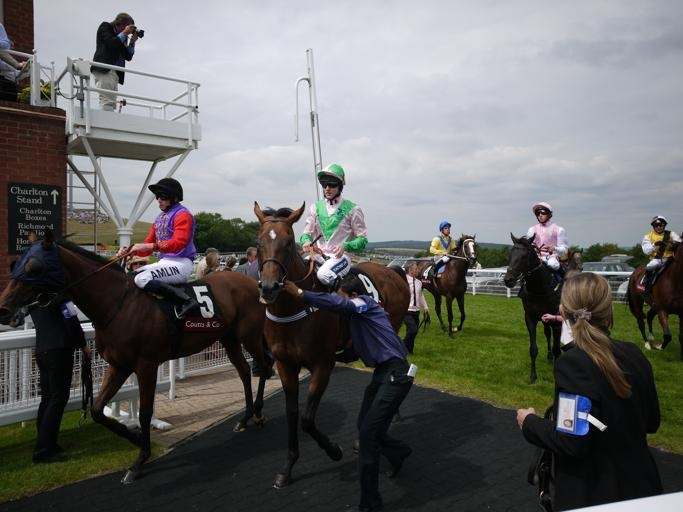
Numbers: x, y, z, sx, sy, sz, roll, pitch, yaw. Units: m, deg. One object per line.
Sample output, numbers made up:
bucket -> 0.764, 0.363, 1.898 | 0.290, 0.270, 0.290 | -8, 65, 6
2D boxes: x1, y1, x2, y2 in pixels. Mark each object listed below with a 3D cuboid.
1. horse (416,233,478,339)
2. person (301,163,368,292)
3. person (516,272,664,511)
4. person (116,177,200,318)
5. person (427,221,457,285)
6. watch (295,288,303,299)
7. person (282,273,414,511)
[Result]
horse -> 2.511, 0.784, 12.351 | 0.870, 2.385, 3.568 | -1, -5, -13
person -> -0.144, -0.059, 5.935 | 0.841, 2.040, 0.790 | 0, -2, 16
person -> 1.660, 0.891, 3.327 | 0.880, 1.530, 0.388 | -1, 4, 3
person -> -2.121, -0.062, 5.791 | 0.809, 1.651, 0.856 | 2, -2, 11
person -> 2.588, -0.059, 12.283 | 0.718, 1.528, 0.895 | 2, 3, -33
watch -> -0.377, 0.335, 4.532 | 0.057, 0.087, 0.087 | -1, -29, -3
person -> 0.230, 1.241, 4.727 | 0.891, 2.028, 0.847 | 0, 4, 22
